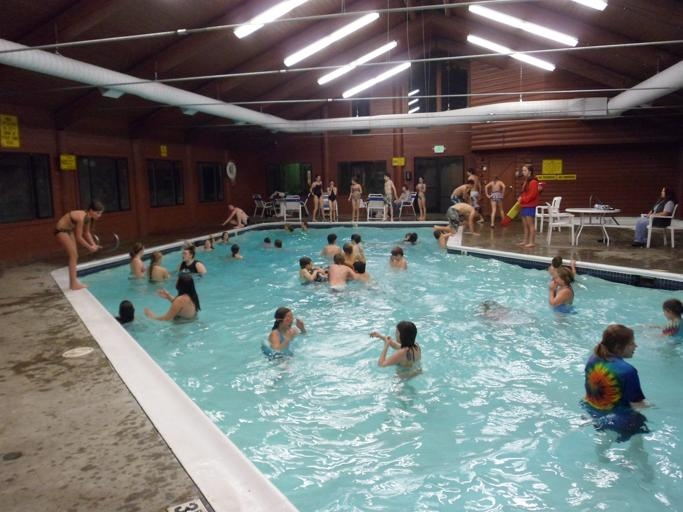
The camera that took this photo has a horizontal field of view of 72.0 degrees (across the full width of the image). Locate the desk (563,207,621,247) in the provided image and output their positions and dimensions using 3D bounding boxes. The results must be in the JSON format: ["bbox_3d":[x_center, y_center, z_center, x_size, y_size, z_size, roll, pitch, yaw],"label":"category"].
[{"bbox_3d":[7.079,-0.805,13.187,1.502,0.970,1.529,1,4,33],"label":"desk"}]

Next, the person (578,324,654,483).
[{"bbox_3d":[2.743,1.288,4.599,0.621,1.292,0.687,6,15,27],"label":"person"}]

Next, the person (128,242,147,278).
[{"bbox_3d":[-4.185,0.096,9.596,0.277,0.718,0.457,-7,15,-25],"label":"person"}]

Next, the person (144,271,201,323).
[{"bbox_3d":[-2.593,0.668,7.263,0.469,0.797,0.744,4,14,19],"label":"person"}]

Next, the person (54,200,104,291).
[{"bbox_3d":[-4.421,-0.204,7.969,0.712,1.461,0.821,-9,15,-30],"label":"person"}]

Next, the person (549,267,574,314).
[{"bbox_3d":[3.560,0.539,7.538,0.368,0.761,0.401,5,15,25],"label":"person"}]

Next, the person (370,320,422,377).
[{"bbox_3d":[0.707,1.096,5.767,0.540,0.786,0.588,2,14,12],"label":"person"}]

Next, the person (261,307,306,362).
[{"bbox_3d":[-0.812,0.973,6.363,0.550,0.803,0.790,-2,13,-3],"label":"person"}]

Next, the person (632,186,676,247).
[{"bbox_3d":[7.151,-0.863,10.700,0.710,1.285,0.967,8,16,33],"label":"person"}]
